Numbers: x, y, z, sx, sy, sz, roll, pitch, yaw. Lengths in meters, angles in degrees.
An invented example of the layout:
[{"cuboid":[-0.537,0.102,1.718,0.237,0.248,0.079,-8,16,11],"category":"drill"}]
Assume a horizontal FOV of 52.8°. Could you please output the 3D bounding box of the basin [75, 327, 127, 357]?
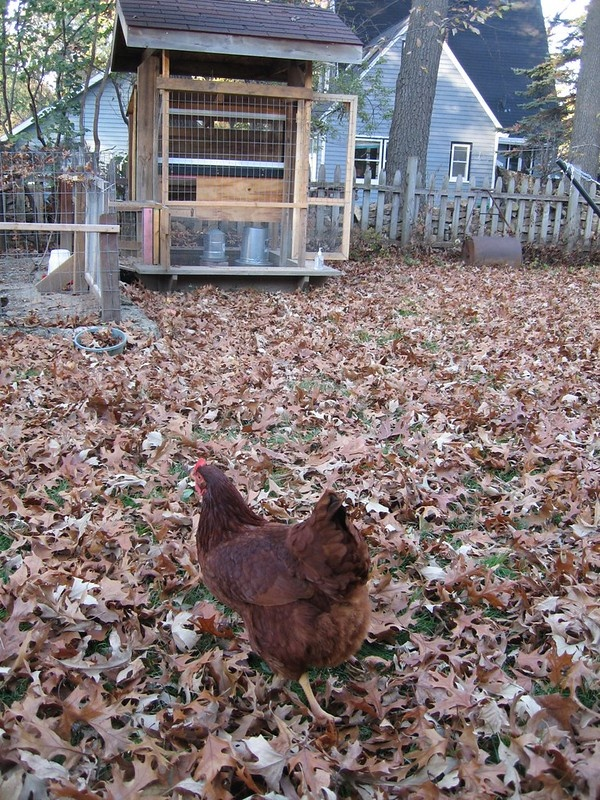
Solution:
[{"cuboid":[-1.742,-0.526,5.322,0.439,0.207,0.725,-2,12,-15],"category":"basin"}]
